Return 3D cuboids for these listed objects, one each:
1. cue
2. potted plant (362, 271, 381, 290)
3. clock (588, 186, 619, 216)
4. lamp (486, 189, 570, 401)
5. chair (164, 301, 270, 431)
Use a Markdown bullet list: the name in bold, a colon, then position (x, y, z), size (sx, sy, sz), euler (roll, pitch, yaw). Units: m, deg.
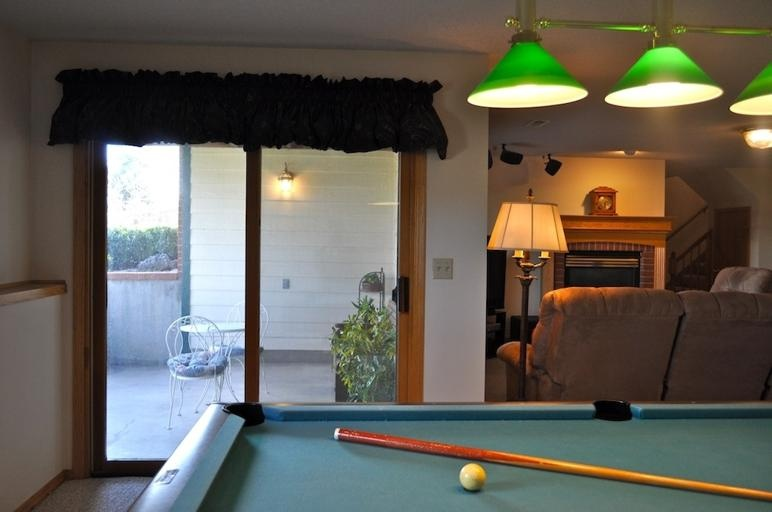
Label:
- **cue**: position (0.755, 0.993, 3.191), size (2.054, 0.186, 0.078), euler (1, 3, 10)
- **potted plant**: position (-0.110, 0.191, 5.089), size (0.140, 0.125, 0.135), euler (0, -7, 1)
- **clock**: position (2.862, -0.732, 8.743), size (0.367, 0.395, 0.246), euler (2, 3, 13)
- **lamp**: position (1.159, 0.069, 5.241), size (0.629, 2.033, 0.620), euler (1, -1, -1)
- **chair**: position (-1.309, 0.723, 5.067), size (0.621, 1.021, 0.612), euler (2, -1, -32)
